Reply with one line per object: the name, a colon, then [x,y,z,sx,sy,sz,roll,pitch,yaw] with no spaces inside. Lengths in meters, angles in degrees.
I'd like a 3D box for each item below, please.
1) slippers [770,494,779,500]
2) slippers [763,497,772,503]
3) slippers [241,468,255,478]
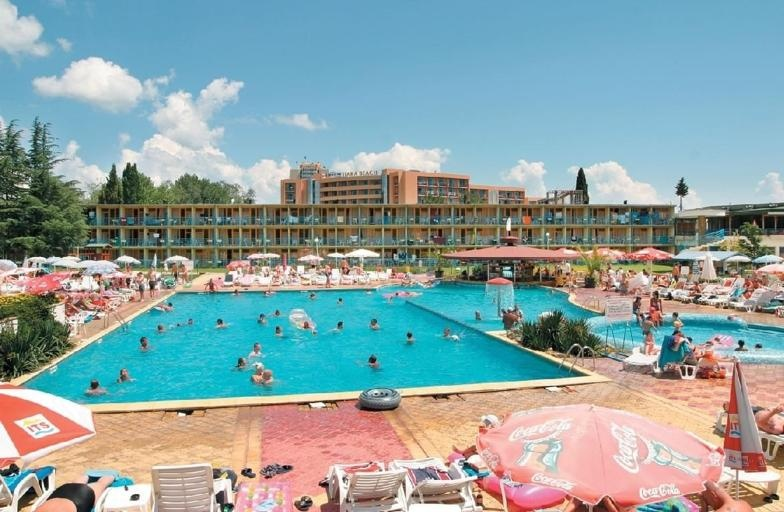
slippers: [6.598,4.149,9.189,0.206,0.079,0.051,0,1,-20]
slippers: [6.441,4.169,9.149,0.160,0.074,0.088,0,0,-11]
slippers: [-2.604,3.933,9.704,0.241,0.094,0.339,0,0,-26]
